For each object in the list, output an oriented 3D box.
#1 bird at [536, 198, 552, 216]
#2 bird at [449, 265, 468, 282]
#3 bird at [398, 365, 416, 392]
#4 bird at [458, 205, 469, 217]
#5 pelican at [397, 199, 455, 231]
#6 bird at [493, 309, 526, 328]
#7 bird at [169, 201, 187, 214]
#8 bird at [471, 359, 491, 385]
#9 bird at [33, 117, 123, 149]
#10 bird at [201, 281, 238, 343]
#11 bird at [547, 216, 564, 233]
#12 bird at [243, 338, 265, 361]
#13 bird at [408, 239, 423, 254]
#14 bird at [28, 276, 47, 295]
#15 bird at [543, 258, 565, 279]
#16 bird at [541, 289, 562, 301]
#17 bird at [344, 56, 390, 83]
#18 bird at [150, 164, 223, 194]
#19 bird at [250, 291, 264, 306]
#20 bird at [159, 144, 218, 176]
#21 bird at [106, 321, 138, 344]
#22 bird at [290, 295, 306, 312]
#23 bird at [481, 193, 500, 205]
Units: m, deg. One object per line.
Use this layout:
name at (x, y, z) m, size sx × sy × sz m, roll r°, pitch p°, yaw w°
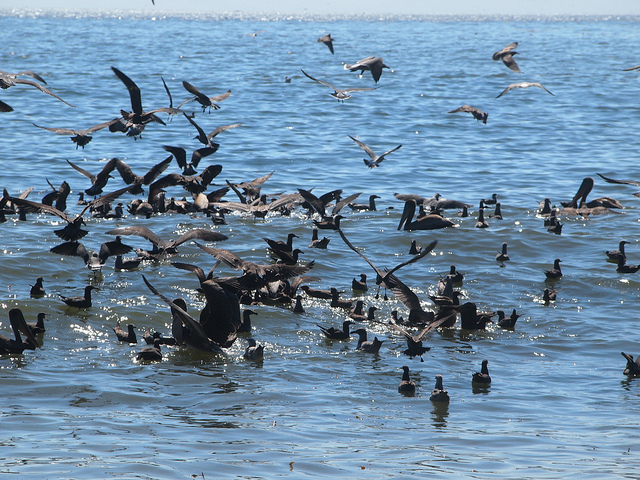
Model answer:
bird at (10.897, -1.577, 69.527) m, size 0.834 × 0.769 × 0.435 m, roll 7°, pitch 26°, yaw 18°
bird at (5.961, 1.484, 62.635) m, size 0.529 × 0.688 × 0.581 m, roll 2°, pitch 15°, yaw 5°
bird at (3.442, 5.466, 56.282) m, size 0.686 × 0.881 × 0.818 m, roll 1°, pitch 14°, yaw 3°
bird at (6.954, -1.375, 69.386) m, size 0.251 × 0.521 × 0.650 m, roll 13°, pitch 7°, yaw -42°
pelican at (5.245, -1.010, 66.647) m, size 3.600 × 1.653 × 1.094 m, roll -3°, pitch 0°, yaw -14°
bird at (7.824, 3.269, 59.905) m, size 0.928 × 0.673 × 0.803 m, roll 5°, pitch 14°, yaw 19°
bird at (-6.857, -1.530, 69.123) m, size 0.632 × 0.220 × 0.604 m, roll -9°, pitch 16°, yaw -32°
bird at (6.397, 5.241, 56.565) m, size 0.719 × 0.872 × 0.574 m, roll 2°, pitch 15°, yaw 4°
bird at (-10.783, -4.743, 64.943) m, size 3.345 × 0.757 × 1.198 m, roll -5°, pitch 2°, yaw 12°
bird at (-4.106, 2.867, 57.000) m, size 1.190 × 2.794 × 1.200 m, roll 16°, pitch 22°, yaw 42°
bird at (11.050, -0.717, 67.554) m, size 0.612 × 0.690 × 0.632 m, roll 3°, pitch 14°, yaw 8°
bird at (-2.601, 4.443, 57.714) m, size 0.758 × 0.725 × 0.787 m, roll 0°, pitch 14°, yaw -3°
bird at (4.344, 0.448, 65.366) m, size 0.385 × 0.443 × 0.844 m, roll 3°, pitch -2°, yaw 17°
bird at (-11.858, 1.965, 60.534) m, size 0.649 × 0.664 × 0.539 m, roll -2°, pitch 15°, yaw -9°
bird at (10.398, 1.281, 63.329) m, size 0.737 × 0.825 × 0.960 m, roll 7°, pitch 15°, yaw 24°
bird at (9.938, 2.328, 61.664) m, size 0.296 × 0.442 × 0.811 m, roll 17°, pitch 36°, yaw 30°
bird at (2.216, -7.782, 64.233) m, size 1.551 × 0.551 × 1.829 m, roll 21°, pitch 5°, yaw -21°
bird at (-5.970, -2.698, 66.063) m, size 3.692 × 0.722 × 1.381 m, roll -8°, pitch -17°, yaw -26°
bird at (-2.651, 2.550, 60.777) m, size 0.705 × 0.464 × 0.554 m, roll -2°, pitch 6°, yaw -1°
bird at (-5.658, -3.624, 64.146) m, size 3.707 × 0.999 × 1.293 m, roll 1°, pitch -31°, yaw -2°
bird at (-7.892, 3.755, 58.320) m, size 1.447 × 0.805 × 0.481 m, roll 21°, pitch 23°, yaw 22°
bird at (-0.933, 2.711, 60.691) m, size 0.568 × 0.650 × 0.685 m, roll -2°, pitch 14°, yaw -11°
bird at (8.327, -1.985, 70.293) m, size 0.739 × 0.529 × 0.896 m, roll 2°, pitch 13°, yaw 7°
